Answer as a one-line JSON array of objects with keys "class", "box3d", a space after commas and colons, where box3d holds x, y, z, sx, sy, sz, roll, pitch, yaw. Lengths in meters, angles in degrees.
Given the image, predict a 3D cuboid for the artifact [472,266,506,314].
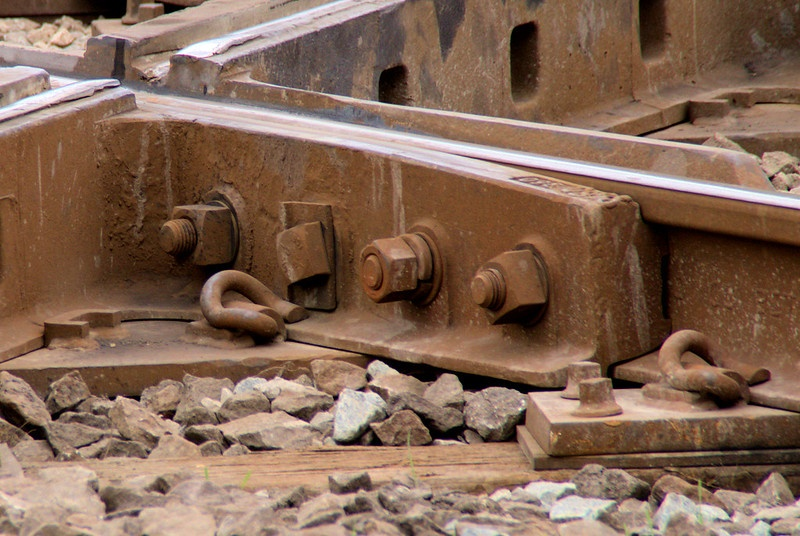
[{"class": "artifact", "box3d": [0.413, 0.103, 7.431, 0.105, 0.210, 0.140, -7, 10, -44]}]
